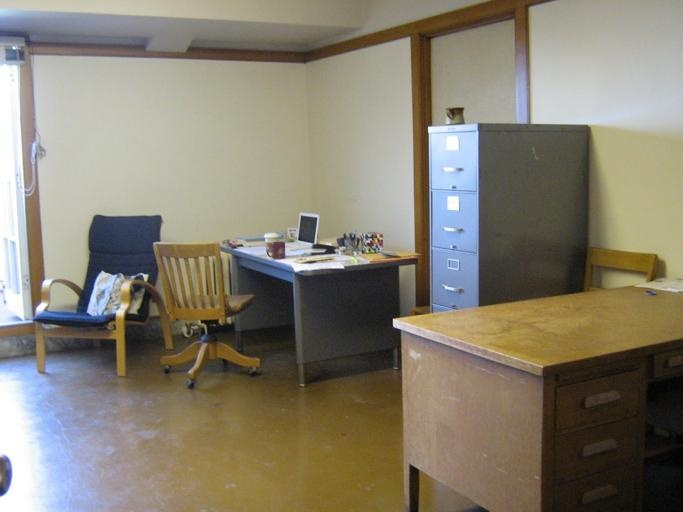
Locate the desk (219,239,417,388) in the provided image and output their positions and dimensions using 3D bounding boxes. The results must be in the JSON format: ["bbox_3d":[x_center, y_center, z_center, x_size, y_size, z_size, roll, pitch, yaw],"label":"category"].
[{"bbox_3d":[-0.184,0.395,5.227,1.596,1.031,2.100,-11,14,-42],"label":"desk"}]

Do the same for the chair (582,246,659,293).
[{"bbox_3d":[1.875,0.056,3.744,0.301,0.563,0.303,-3,6,-39],"label":"chair"}]

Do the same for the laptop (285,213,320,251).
[{"bbox_3d":[-0.364,-0.216,5.207,0.331,0.304,0.428,-5,8,-31],"label":"laptop"}]

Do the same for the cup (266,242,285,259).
[{"bbox_3d":[-0.560,-0.049,4.559,0.165,0.123,0.101,-2,7,-22],"label":"cup"}]
